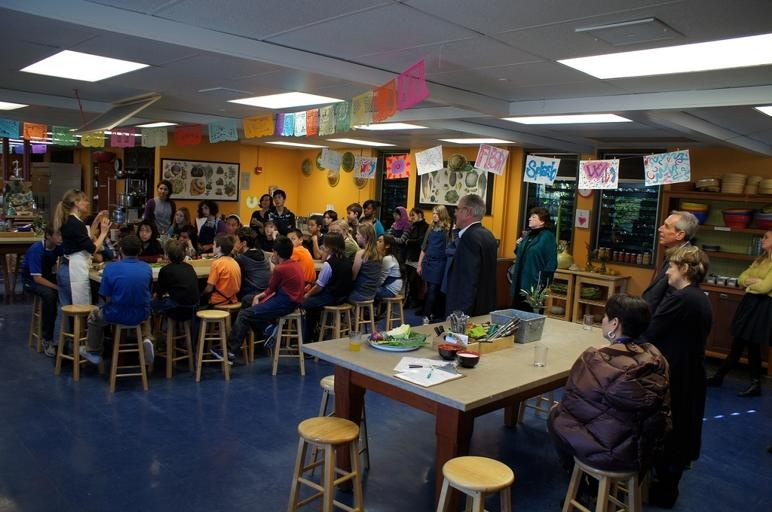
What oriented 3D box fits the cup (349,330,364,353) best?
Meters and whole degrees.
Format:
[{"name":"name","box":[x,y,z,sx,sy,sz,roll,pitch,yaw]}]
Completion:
[{"name":"cup","box":[-0.241,0.717,4.272,0.098,0.138,0.146,2,-3,-3]}]

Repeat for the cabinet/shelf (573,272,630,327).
[{"name":"cabinet/shelf","box":[3.614,0.767,8.759,0.786,1.093,0.777,4,11,12]}]

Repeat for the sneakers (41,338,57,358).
[{"name":"sneakers","box":[-4.308,1.191,6.621,0.141,0.158,0.405,-1,15,-42]}]

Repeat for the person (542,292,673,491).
[{"name":"person","box":[1.590,0.952,3.589,0.808,1.316,0.397,3,8,18]}]

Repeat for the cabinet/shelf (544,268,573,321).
[{"name":"cabinet/shelf","box":[3.050,0.706,8.942,0.493,0.896,0.302,8,14,40]}]

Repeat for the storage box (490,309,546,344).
[{"name":"storage box","box":[1.231,0.628,4.683,0.298,0.190,0.427,-3,6,-33]}]

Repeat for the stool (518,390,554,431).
[{"name":"stool","box":[1.823,1.730,5.848,0.279,0.249,0.446,8,-8,-20]}]

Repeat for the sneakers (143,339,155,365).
[{"name":"sneakers","box":[-2.763,1.162,5.940,0.130,0.373,0.158,-2,12,-20]}]

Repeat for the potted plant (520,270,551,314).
[{"name":"potted plant","box":[1.489,0.457,4.987,0.260,0.278,0.191,-1,23,9]}]

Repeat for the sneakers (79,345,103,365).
[{"name":"sneakers","box":[-3.424,1.171,5.970,0.208,0.281,0.180,-4,9,-32]}]

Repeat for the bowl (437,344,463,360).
[{"name":"bowl","box":[0.501,0.765,4.148,0.138,0.076,0.134,2,0,0]}]

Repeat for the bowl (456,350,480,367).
[{"name":"bowl","box":[0.656,0.805,4.025,0.132,0.073,0.128,-2,6,0]}]

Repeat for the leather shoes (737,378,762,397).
[{"name":"leather shoes","box":[4.728,1.701,6.565,0.503,0.207,0.135,-4,9,-33]}]
